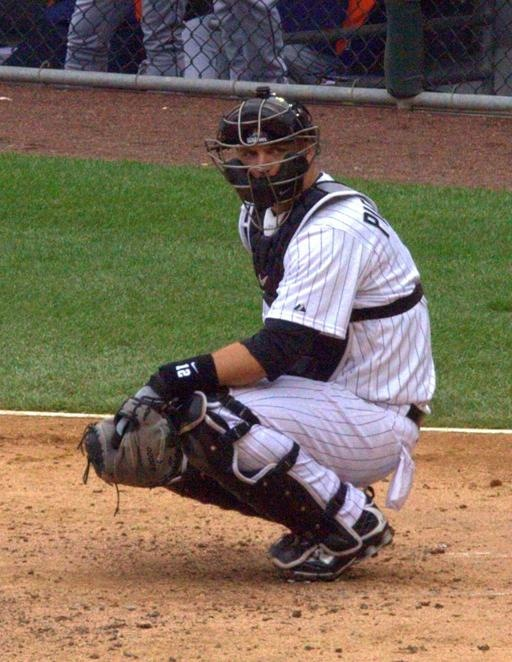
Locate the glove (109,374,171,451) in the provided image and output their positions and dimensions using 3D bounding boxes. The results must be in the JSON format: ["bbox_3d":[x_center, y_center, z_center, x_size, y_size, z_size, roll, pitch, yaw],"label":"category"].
[{"bbox_3d":[-0.263,0.196,2.200,0.127,0.153,0.066,3,9,-7],"label":"glove"}]

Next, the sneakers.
[{"bbox_3d":[0.167,0.509,2.304,0.299,0.130,0.164,-22,44,-4],"label":"sneakers"}]

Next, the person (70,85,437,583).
[{"bbox_3d":[0.041,-0.004,2.285,0.770,1.147,0.379,5,9,8],"label":"person"}]
